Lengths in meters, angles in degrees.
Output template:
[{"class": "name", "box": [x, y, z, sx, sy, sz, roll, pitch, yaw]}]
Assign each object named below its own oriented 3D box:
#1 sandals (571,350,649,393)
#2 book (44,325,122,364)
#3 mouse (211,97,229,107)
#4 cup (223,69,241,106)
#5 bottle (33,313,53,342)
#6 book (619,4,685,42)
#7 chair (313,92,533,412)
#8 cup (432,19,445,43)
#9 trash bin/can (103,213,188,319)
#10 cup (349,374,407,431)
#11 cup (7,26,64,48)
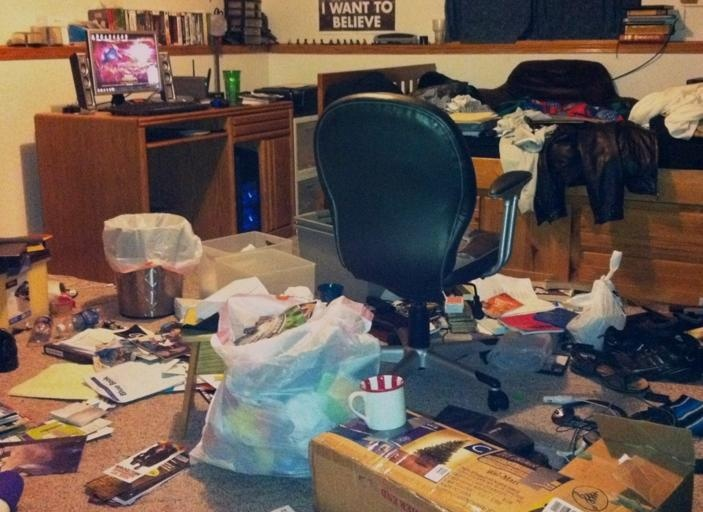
[{"class": "sandals", "box": [1.044, 0.466, 2.471, 0.112, 0.090, 0.292, -25, 28, -34]}, {"class": "book", "box": [-1.183, 0.389, 2.688, 0.190, 0.047, 0.182, 14, 19, 33]}, {"class": "mouse", "box": [-0.816, -0.940, 3.698, 0.093, 0.056, 0.094, 14, 18, 30]}, {"class": "cup", "box": [-0.774, -1.142, 3.950, 0.125, 0.126, 0.121, 4, 25, -2]}, {"class": "bottle", "box": [-1.443, 0.335, 2.813, 0.086, 0.077, 0.132, 5, 35, -17]}, {"class": "book", "box": [1.938, -1.447, 3.939, 0.333, 0.218, 0.246, 5, 17, 30]}, {"class": "chair", "box": [0.279, -0.024, 2.427, 0.823, 1.107, 0.755, 7, 11, 35]}, {"class": "cup", "box": [0.639, -1.677, 4.517, 0.106, 0.172, 0.107, 0, 14, 0]}, {"class": "trash bin/can", "box": [-1.019, 0.073, 3.127, 0.515, 0.474, 0.490, 0, -3, 6]}, {"class": "cup", "box": [0.095, 0.444, 1.809, 0.189, 0.119, 0.116, -10, 15, -24]}, {"class": "cup", "box": [-1.805, -1.232, 3.452, 0.219, 0.073, 0.148, -8, 18, -34]}]
